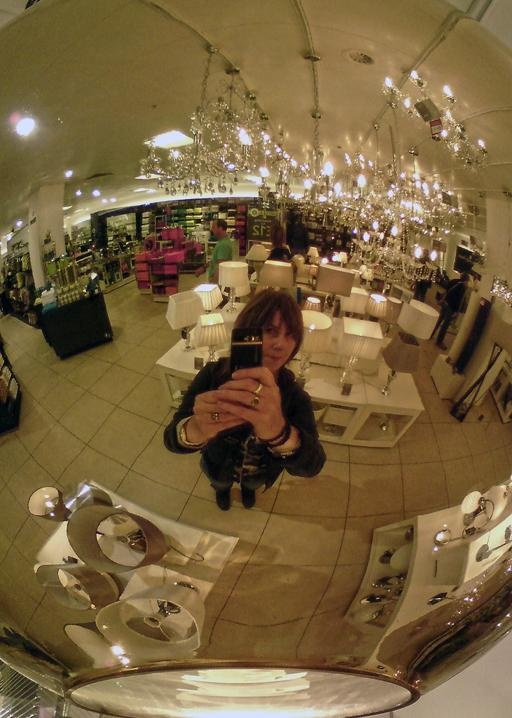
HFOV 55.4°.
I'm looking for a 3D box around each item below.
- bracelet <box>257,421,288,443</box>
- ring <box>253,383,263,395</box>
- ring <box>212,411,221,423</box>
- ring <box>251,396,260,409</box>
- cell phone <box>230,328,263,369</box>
[{"bbox_3d":[0.033,0.124,0.855,0.039,0.011,0.040,2,22,45],"label":"bracelet"},{"bbox_3d":[0.003,0.045,0.769,0.005,0.012,0.014,20,47,11],"label":"ring"},{"bbox_3d":[-0.068,0.094,0.828,0.018,0.024,0.003,7,35,-2],"label":"ring"},{"bbox_3d":[-0.002,0.066,0.779,0.012,0.025,0.004,2,31,1],"label":"ring"},{"bbox_3d":[-0.015,-0.019,0.739,0.058,0.079,0.008,6,28,2],"label":"cell phone"}]
